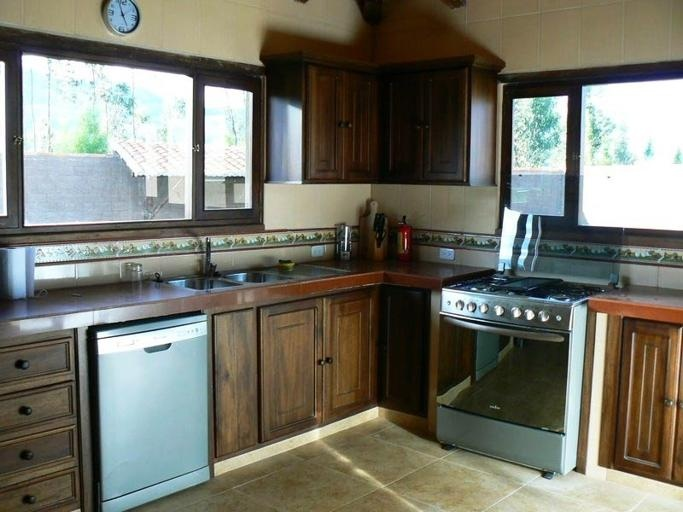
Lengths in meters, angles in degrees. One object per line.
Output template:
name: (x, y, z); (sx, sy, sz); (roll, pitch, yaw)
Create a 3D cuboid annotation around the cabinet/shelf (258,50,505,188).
cabinet/shelf: (0.300, -1.056, 4.631); (1.779, 0.945, 0.580); (0, 9, -3)

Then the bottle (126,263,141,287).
bottle: (-1.362, 0.111, 3.824); (0.119, 0.132, 0.245); (-2, 10, -19)

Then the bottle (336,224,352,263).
bottle: (0.025, -0.129, 5.091); (0.139, 0.292, 0.282); (1, 9, 0)

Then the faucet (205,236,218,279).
faucet: (-0.945, -0.004, 4.212); (0.092, 0.267, 0.206); (-1, 9, -13)

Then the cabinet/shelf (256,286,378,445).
cabinet/shelf: (-0.205, 0.767, 4.144); (1.087, 1.004, 0.444); (-6, 7, -43)

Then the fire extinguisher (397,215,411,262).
fire extinguisher: (0.539, -0.154, 5.051); (0.098, 0.372, 0.119); (-4, 10, -27)
